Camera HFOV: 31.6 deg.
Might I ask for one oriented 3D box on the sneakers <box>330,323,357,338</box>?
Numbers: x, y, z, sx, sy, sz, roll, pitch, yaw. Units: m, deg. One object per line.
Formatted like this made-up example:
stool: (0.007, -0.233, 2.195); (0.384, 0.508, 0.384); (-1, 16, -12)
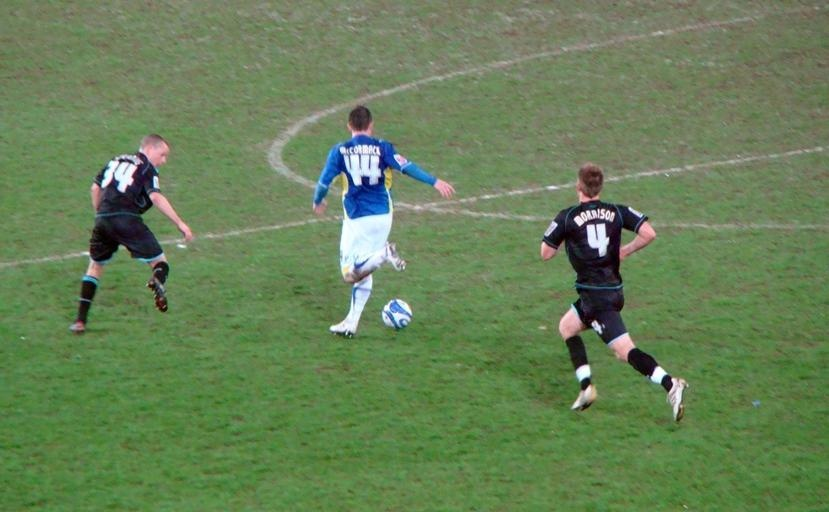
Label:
sneakers: (-1.098, 1.183, 23.535); (0.516, 0.216, 0.168); (7, 17, 10)

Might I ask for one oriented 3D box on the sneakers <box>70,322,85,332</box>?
sneakers: (-5.299, 1.123, 23.284); (0.246, 0.210, 0.120); (-6, 18, -11)

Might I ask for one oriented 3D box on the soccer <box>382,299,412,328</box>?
soccer: (-0.300, 0.926, 23.722); (0.446, 0.339, 0.515); (-1, 6, -29)

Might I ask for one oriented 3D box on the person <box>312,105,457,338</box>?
person: (-0.682, -0.538, 23.360); (1.734, 3.628, 0.861); (-4, 18, -2)
